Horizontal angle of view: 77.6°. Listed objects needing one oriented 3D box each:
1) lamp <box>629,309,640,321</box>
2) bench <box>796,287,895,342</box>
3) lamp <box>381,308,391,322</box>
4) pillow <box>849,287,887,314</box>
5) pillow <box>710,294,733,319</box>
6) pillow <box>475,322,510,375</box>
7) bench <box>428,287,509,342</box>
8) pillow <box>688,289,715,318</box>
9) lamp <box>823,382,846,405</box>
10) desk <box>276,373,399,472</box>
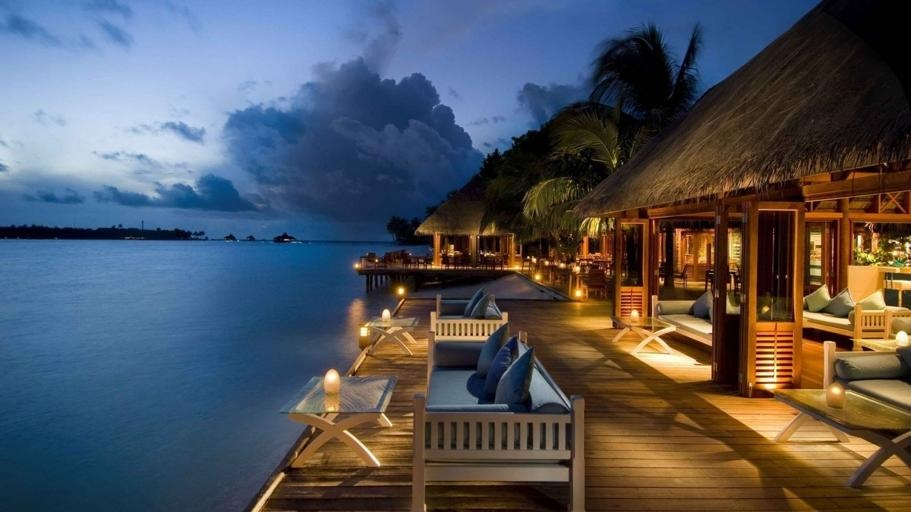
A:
[{"bbox_3d":[6.063,2.023,19.163,0.405,0.375,0.408,1,-5,12],"label":"lamp"},{"bbox_3d":[12.936,1.454,18.837,1.727,1.281,3.109,-1,0,10],"label":"bench"},{"bbox_3d":[-2.427,2.077,19.578,0.416,0.430,0.406,1,8,12],"label":"lamp"},{"bbox_3d":[13.665,1.480,18.538,1.571,0.599,0.631,1,-1,-37],"label":"pillow"},{"bbox_3d":[8.514,1.631,18.036,0.789,0.813,1.496,0,0,24],"label":"pillow"},{"bbox_3d":[1.298,2.881,17.045,0.962,1.719,2.610,0,-5,2],"label":"pillow"},{"bbox_3d":[0.430,2.102,18.298,1.692,0.920,2.302,1,3,4],"label":"bench"},{"bbox_3d":[8.262,1.636,19.046,0.256,0.789,0.794,20,-38,-9],"label":"pillow"},{"bbox_3d":[10.206,3.787,15.392,0.567,0.686,0.562,2,-1,20],"label":"lamp"},{"bbox_3d":[-3.184,4.572,16.028,2.829,1.590,2.711,1,1,0],"label":"desk"}]
